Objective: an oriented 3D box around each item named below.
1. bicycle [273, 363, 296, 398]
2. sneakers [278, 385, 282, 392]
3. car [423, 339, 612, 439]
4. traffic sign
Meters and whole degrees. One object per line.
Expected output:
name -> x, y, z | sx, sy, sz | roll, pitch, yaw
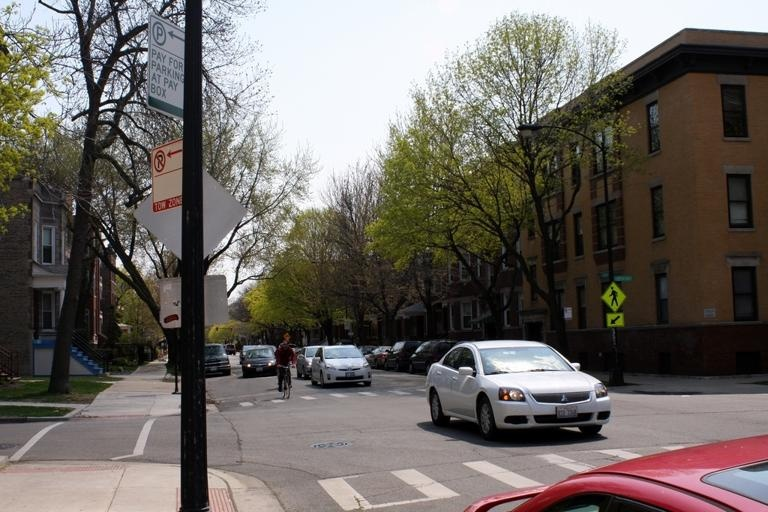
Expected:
bicycle -> -3.875, 4.892, 25.931 | 0.328, 1.295, 1.208 | 2, -10, -20
sneakers -> -4.144, 5.269, 26.448 | 0.188, 0.254, 0.617 | 2, -12, -6
car -> 2.767, 2.875, 14.752 | 2.137, 2.148, 3.996 | 7, -13, -37
traffic sign -> -2.782, -2.454, 8.497 | 0.562, 1.272, 0.285 | 7, -12, -42
